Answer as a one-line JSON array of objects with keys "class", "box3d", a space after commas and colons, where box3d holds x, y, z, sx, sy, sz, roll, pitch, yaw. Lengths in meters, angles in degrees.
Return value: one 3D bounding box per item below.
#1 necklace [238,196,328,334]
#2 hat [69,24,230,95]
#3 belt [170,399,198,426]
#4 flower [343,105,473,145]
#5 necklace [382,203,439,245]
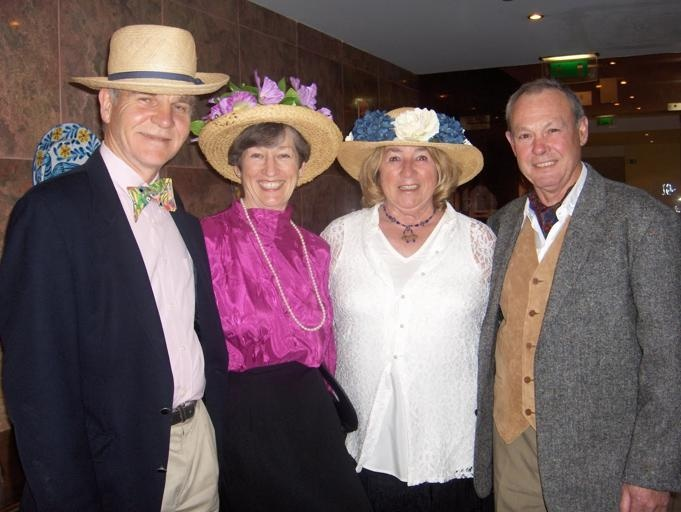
[{"class": "necklace", "box3d": [-0.326, 0.096, 3.096, 0.277, 0.866, 0.037, -15, -14, -42]}, {"class": "hat", "box3d": [-0.856, -0.821, 2.718, 0.432, 0.180, 0.403, 3, 8, 26]}, {"class": "belt", "box3d": [-0.652, 0.651, 2.601, 0.064, 0.045, 0.089, -16, 6, 4]}, {"class": "flower", "box3d": [0.440, -0.686, 3.359, 0.473, 0.125, 0.493, 18, 21, 30]}, {"class": "necklace", "box3d": [0.362, -0.162, 3.238, 0.225, 0.244, 0.013, 4, -31, 4]}]
